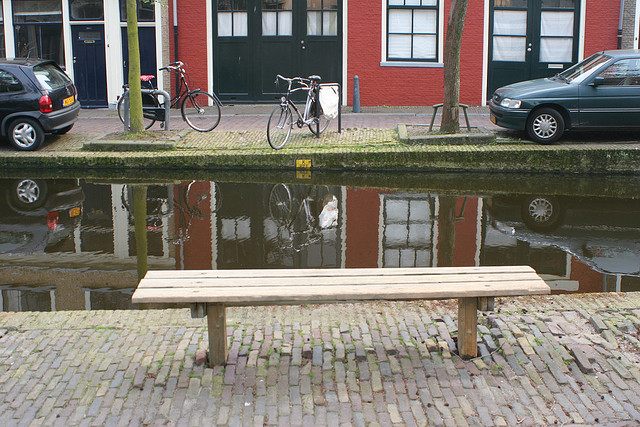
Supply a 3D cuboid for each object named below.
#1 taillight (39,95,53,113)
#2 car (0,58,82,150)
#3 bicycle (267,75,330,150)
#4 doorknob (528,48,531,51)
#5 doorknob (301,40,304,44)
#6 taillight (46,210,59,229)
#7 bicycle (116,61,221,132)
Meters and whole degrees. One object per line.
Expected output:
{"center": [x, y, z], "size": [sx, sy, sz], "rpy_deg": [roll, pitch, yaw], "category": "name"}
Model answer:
{"center": [-5.955, -2.347, 13.859], "size": [0.213, 0.429, 0.299], "rpy_deg": [-2, 12, 11], "category": "taillight"}
{"center": [-6.169, -2.527, 14.288], "size": [2.204, 1.237, 1.349], "rpy_deg": [7, 17, 9], "category": "car"}
{"center": [-0.490, -2.367, 14.437], "size": [1.341, 1.399, 2.981], "rpy_deg": [-1, 16, -2], "category": "bicycle"}
{"center": [6.135, -4.811, 18.895], "size": [0.078, 0.046, 0.080], "rpy_deg": [-1, 4, -18], "category": "doorknob"}
{"center": [-0.555, -5.131, 19.264], "size": [0.077, 0.109, 0.031], "rpy_deg": [3, 15, 10], "category": "doorknob"}
{"center": [-4.234, 0.128, 10.116], "size": [0.152, 0.304, 0.167], "rpy_deg": [-6, -12, 0], "category": "taillight"}
{"center": [-3.617, -2.700, 15.084], "size": [2.404, 1.571, 1.189], "rpy_deg": [0, 7, -8], "category": "bicycle"}
